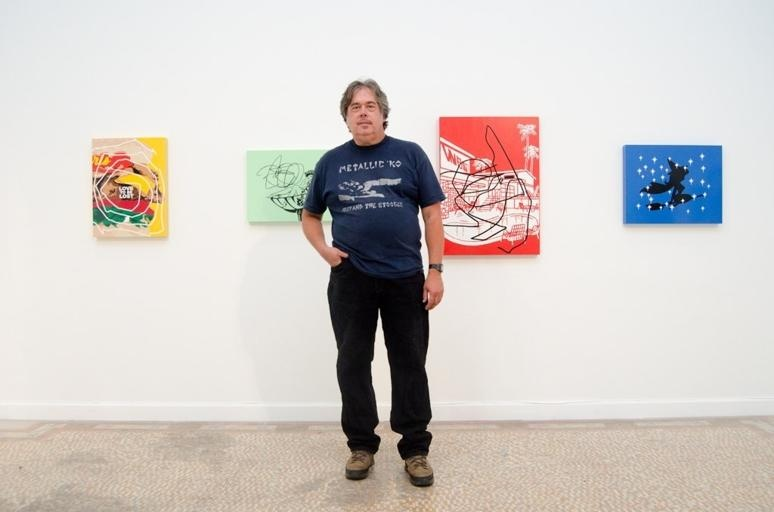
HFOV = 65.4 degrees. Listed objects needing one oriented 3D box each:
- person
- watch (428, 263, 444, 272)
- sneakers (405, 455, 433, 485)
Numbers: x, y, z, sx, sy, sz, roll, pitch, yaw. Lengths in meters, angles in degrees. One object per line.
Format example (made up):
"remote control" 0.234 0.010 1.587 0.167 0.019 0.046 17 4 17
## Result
"person" -0.079 0.133 3.699 0.858 2.425 0.604 0 9 4
"watch" 0.312 0.074 3.738 0.060 0.029 0.061 1 -1 42
"sneakers" 0.200 1.291 3.610 0.164 0.154 0.102 0 9 3
